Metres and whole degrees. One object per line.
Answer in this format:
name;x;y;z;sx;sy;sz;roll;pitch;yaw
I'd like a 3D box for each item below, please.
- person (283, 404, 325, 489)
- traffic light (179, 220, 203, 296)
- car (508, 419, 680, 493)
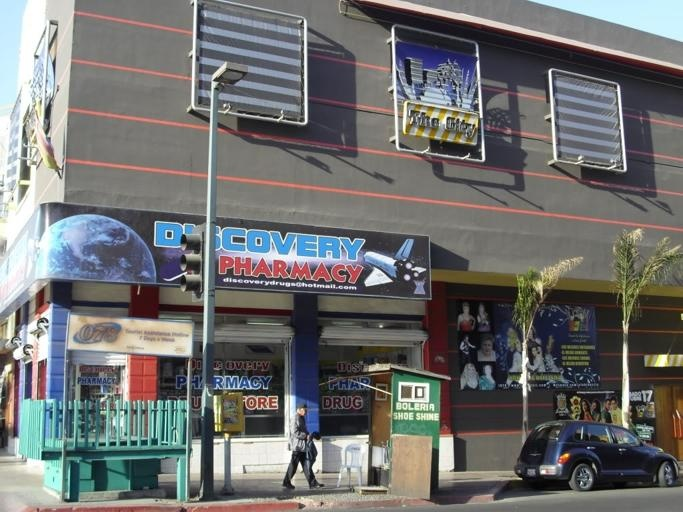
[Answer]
person;-0.971;4.809;23.394;0.739;2.065;0.811;-10;-15;39
traffic light;-3.435;0.119;21.222;0.452;1.420;0.450;-3;3;-9
car;6.608;5.248;24.402;3.550;1.494;1.961;2;-9;-21
